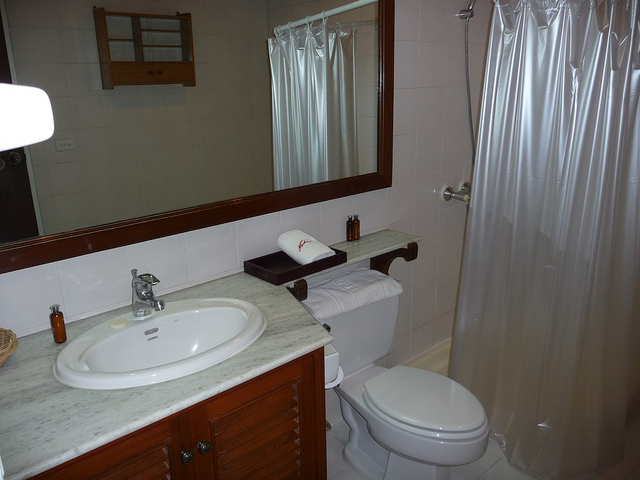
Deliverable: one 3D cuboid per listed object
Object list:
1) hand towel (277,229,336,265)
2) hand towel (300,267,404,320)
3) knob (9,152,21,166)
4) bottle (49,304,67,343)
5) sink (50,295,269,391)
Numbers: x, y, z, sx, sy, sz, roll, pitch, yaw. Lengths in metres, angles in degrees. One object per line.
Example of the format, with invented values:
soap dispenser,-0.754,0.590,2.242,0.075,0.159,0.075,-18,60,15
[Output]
hand towel,-0.072,0.033,1.986,0.202,0.146,0.246,-3,23,-29
hand towel,0.115,0.237,2.134,0.445,0.089,0.296,-14,19,-22
knob,-0.971,-0.257,1.479,0.025,0.038,0.013,-11,14,-31
bottle,-0.882,0.274,1.557,0.042,0.142,0.085,-14,21,-30
sink,-0.517,0.376,1.573,0.695,0.166,0.419,-7,19,-11
